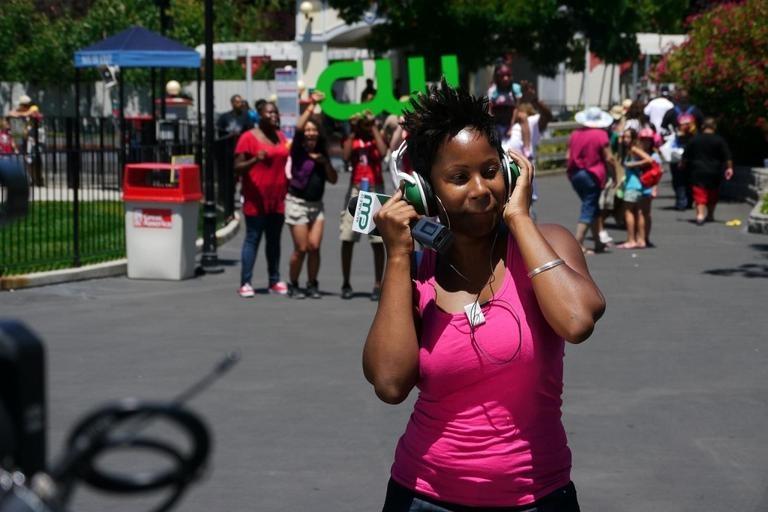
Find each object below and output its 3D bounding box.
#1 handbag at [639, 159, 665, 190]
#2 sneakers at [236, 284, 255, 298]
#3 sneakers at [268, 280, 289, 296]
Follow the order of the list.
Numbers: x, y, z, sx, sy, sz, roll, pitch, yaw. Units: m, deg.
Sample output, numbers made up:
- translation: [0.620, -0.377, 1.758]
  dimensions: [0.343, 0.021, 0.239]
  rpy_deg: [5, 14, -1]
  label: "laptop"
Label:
- translation: [4.225, -1.306, 19.379]
  dimensions: [0.276, 0.436, 0.406]
  rpy_deg: [6, 7, 42]
  label: "handbag"
- translation: [-1.793, 0.436, 15.925]
  dimensions: [0.135, 0.131, 0.272]
  rpy_deg: [-2, -1, -15]
  label: "sneakers"
- translation: [-1.353, 0.403, 16.039]
  dimensions: [0.135, 0.138, 0.266]
  rpy_deg: [-1, -1, -36]
  label: "sneakers"
